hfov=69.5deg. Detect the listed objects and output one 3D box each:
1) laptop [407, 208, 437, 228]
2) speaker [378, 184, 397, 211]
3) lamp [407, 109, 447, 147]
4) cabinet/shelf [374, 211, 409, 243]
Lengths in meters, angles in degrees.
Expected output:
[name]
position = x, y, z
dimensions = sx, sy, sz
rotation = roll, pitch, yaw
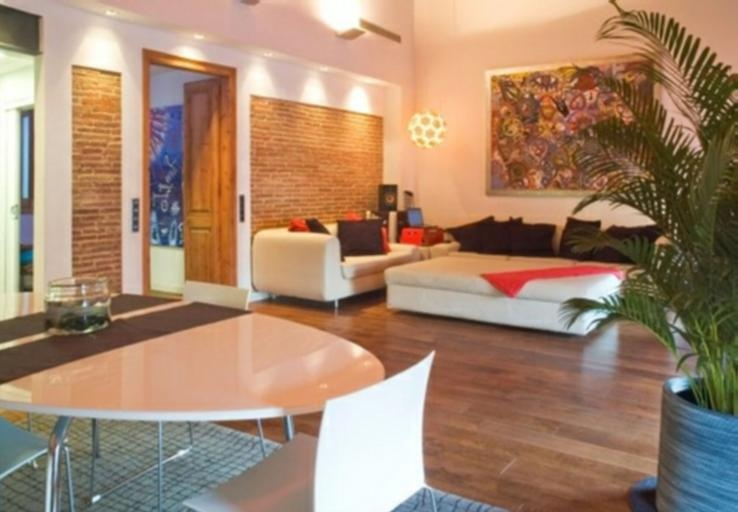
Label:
[laptop]
position = 0.801, -0.593, 8.316
dimensions = 0.257, 0.319, 0.424
rotation = -5, -1, 33
[speaker]
position = 0.289, -0.914, 8.330
dimensions = 0.378, 0.502, 0.293
rotation = 2, 5, 15
[lamp]
position = 0.819, -1.887, 8.147
dimensions = 0.549, 0.537, 0.552
rotation = 3, 4, 39
[cabinet/shelf]
position = 0.366, -0.475, 8.235
dimensions = 0.526, 0.508, 0.498
rotation = -1, 7, 21
